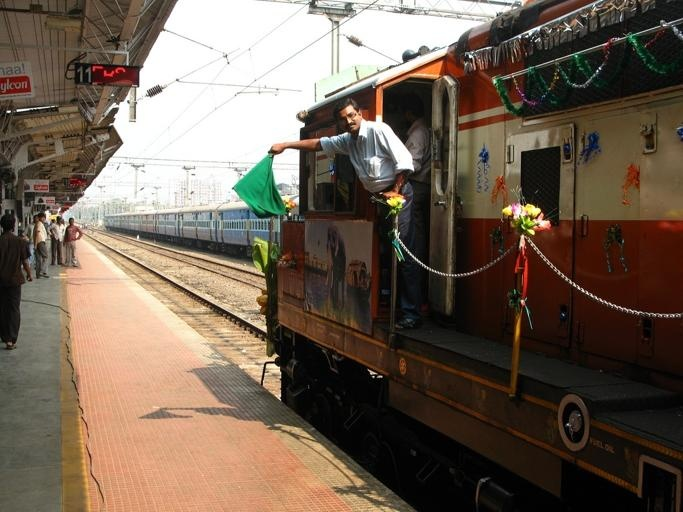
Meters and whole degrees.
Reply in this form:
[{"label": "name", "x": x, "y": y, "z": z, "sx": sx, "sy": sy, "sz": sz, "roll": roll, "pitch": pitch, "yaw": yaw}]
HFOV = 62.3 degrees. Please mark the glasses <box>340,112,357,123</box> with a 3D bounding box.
[{"label": "glasses", "x": 0.069, "y": -1.294, "z": 5.256, "sx": 0.073, "sy": 0.102, "sz": 0.131, "roll": 35, "pitch": 11, "yaw": -7}]
